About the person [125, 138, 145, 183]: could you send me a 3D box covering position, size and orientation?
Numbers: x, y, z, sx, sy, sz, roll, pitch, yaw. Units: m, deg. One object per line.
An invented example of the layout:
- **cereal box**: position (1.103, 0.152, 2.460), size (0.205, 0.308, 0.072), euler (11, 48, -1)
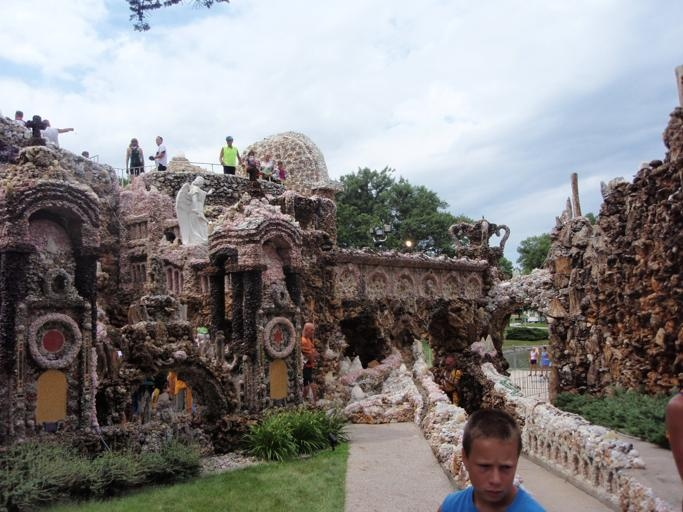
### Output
- **person**: position (-9.445, -4.266, 31.201), size (0.734, 2.213, 0.483), euler (-4, 31, -22)
